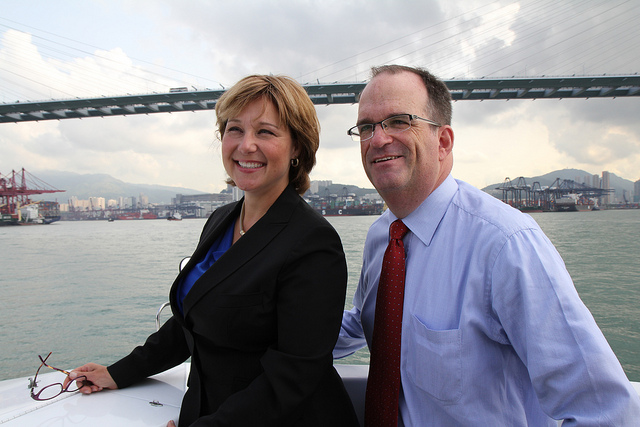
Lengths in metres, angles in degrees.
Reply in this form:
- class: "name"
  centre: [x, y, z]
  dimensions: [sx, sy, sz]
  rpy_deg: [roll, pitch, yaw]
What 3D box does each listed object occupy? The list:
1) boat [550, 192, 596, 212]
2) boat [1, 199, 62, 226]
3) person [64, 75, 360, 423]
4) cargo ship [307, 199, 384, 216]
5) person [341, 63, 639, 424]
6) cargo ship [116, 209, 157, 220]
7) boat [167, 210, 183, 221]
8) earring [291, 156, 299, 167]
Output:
- class: "boat"
  centre: [38.192, -1.183, 75.297]
  dimensions: [3.896, 3.761, 12.888]
  rpy_deg: [7, 6, 41]
- class: "boat"
  centre: [-35.748, -0.126, 61.425]
  dimensions: [2.925, 3.415, 9.487]
  rpy_deg: [-3, -5, -10]
- class: "person"
  centre: [-0.312, 0.210, 2.733]
  dimensions: [1.007, 1.913, 0.614]
  rpy_deg: [0, 5, 5]
- class: "cargo ship"
  centre: [4.277, -0.739, 77.218]
  dimensions: [8.543, 2.699, 10.503]
  rpy_deg: [-1, 4, -6]
- class: "person"
  centre: [0.811, 0.173, 2.718]
  dimensions: [1.440, 1.989, 0.526]
  rpy_deg: [1, 5, 22]
- class: "cargo ship"
  centre: [-38.809, 0.576, 105.198]
  dimensions: [3.608, 1.729, 9.664]
  rpy_deg: [1, 5, 27]
- class: "boat"
  centre: [-29.200, 0.393, 101.762]
  dimensions: [1.623, 1.059, 23.428]
  rpy_deg: [-2, 4, -14]
- class: "earring"
  centre: [-0.142, -0.294, 2.829]
  dimensions: [0.041, 0.059, 0.036]
  rpy_deg: [0, 5, 9]
